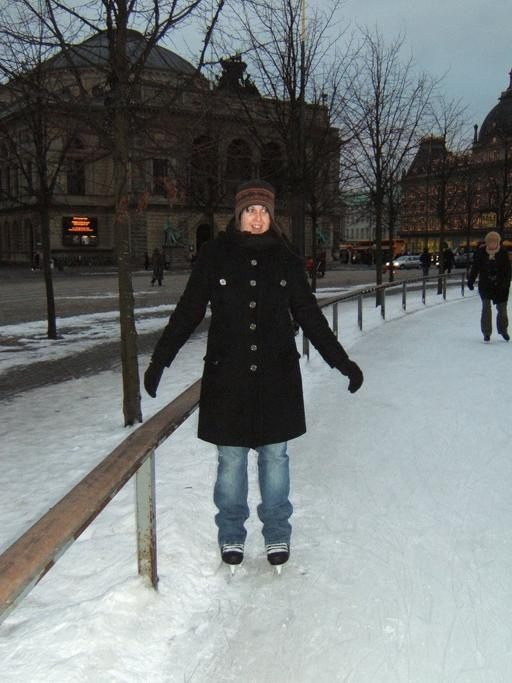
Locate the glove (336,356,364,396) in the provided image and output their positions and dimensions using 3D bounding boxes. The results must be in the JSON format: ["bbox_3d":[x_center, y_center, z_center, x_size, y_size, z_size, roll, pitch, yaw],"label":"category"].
[{"bbox_3d":[0.437,0.146,2.585,0.140,0.187,0.079,-3,12,21],"label":"glove"}]

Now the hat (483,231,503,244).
[{"bbox_3d":[3.853,-1.651,9.141,0.237,0.313,0.676,1,7,21],"label":"hat"}]

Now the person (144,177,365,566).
[{"bbox_3d":[-0.023,0.164,2.478,0.906,1.689,0.289,-3,6,-12],"label":"person"}]

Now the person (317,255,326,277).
[{"bbox_3d":[3.988,-4.671,34.944,0.898,1.192,0.426,-1,2,-34],"label":"person"}]

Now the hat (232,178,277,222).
[{"bbox_3d":[-0.002,-0.620,2.450,0.164,0.157,0.165,-1,2,-31],"label":"hat"}]
